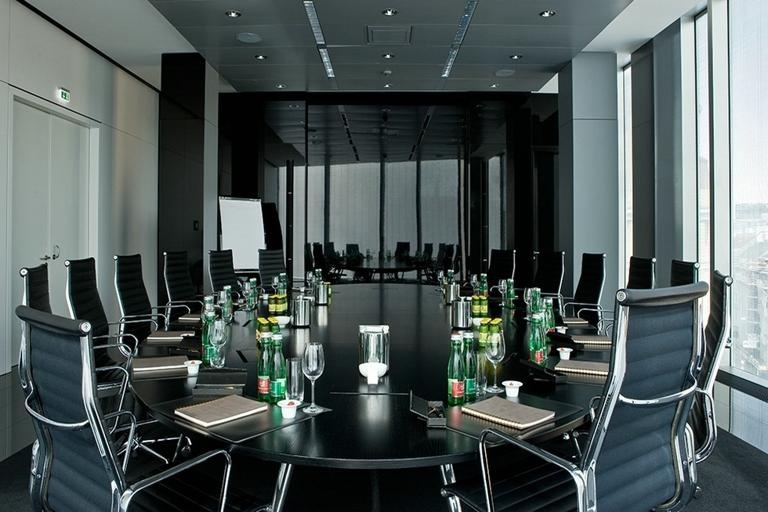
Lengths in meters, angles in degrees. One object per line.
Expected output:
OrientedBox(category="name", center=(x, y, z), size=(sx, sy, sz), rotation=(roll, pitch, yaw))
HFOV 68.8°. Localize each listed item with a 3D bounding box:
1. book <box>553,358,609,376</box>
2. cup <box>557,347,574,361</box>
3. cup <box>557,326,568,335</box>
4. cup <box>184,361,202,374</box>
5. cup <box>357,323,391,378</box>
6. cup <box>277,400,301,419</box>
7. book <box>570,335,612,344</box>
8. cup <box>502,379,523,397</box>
OrientedBox(category="book", center=(1.407, 0.773, 3.926), size=(0.221, 0.054, 0.208), rotation=(1, 1, 17))
OrientedBox(category="cup", center=(1.334, 0.715, 4.090), size=(0.090, 0.057, 0.091), rotation=(0, -4, 0))
OrientedBox(category="cup", center=(1.526, 0.637, 4.767), size=(0.066, 0.043, 0.066), rotation=(0, -3, 0))
OrientedBox(category="cup", center=(-1.339, 0.767, 3.916), size=(0.101, 0.072, 0.100), rotation=(0, -4, 0))
OrientedBox(category="cup", center=(-0.100, 0.669, 4.019), size=(0.283, 0.473, 0.298), rotation=(0, 1, 0))
OrientedBox(category="cup", center=(-0.584, 0.914, 3.365), size=(0.099, 0.063, 0.105), rotation=(0, 0, 0))
OrientedBox(category="book", center=(1.669, 0.676, 4.494), size=(0.189, 0.047, 0.172), rotation=(0, 0, 6))
OrientedBox(category="cup", center=(0.822, 0.840, 3.583), size=(0.104, 0.062, 0.099), rotation=(0, -4, 0))
